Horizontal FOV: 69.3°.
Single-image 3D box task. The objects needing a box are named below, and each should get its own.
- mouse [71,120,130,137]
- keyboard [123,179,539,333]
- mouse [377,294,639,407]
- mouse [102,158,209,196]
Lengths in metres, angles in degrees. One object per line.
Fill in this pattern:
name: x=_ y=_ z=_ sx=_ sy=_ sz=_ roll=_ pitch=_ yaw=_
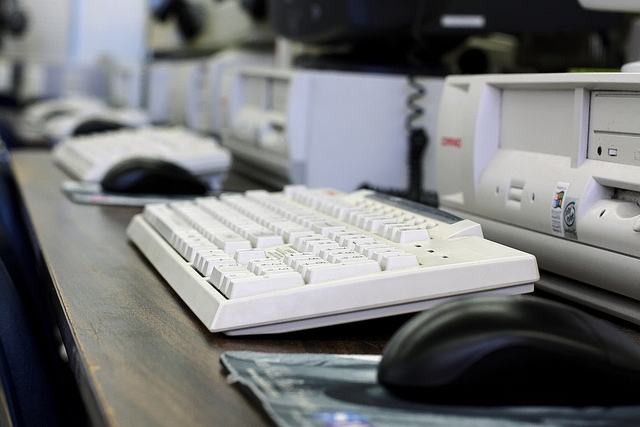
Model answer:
mouse: x=-0.565 y=-0.222 z=1.195 sx=0.131 sy=0.039 sz=0.070 roll=-6 pitch=13 yaw=-28
keyboard: x=-0.035 y=0.032 z=0.612 sx=0.394 sy=0.078 sz=0.447 roll=-5 pitch=13 yaw=-24
mouse: x=0.148 y=0.082 z=0.362 sx=0.176 sy=0.053 sz=0.093 roll=-2 pitch=8 yaw=-14
mouse: x=-0.320 y=-0.059 z=0.885 sx=0.131 sy=0.042 sz=0.083 roll=0 pitch=10 yaw=-27
